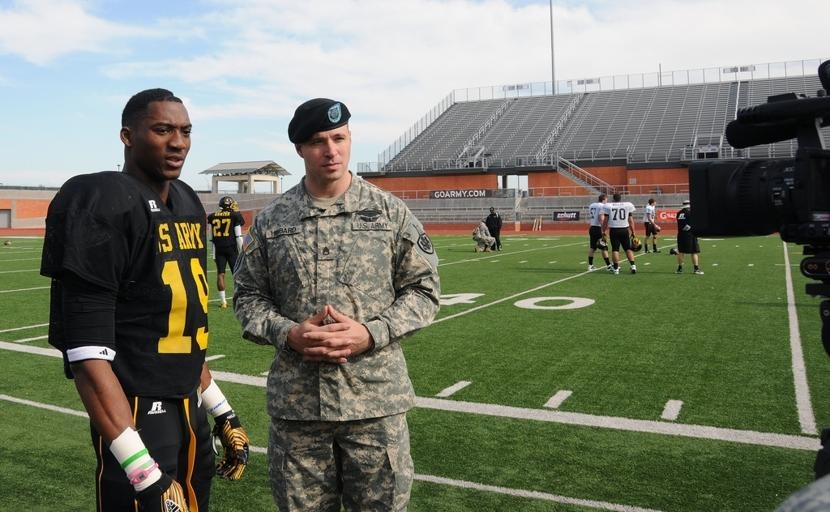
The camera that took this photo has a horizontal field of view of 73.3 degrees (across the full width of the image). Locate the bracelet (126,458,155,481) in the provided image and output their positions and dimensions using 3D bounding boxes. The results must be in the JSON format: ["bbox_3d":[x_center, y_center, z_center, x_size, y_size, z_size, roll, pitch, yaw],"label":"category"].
[{"bbox_3d":[-1.288,0.994,2.614,0.092,0.061,0.120,-28,-2,-26],"label":"bracelet"}]

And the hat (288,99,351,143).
[{"bbox_3d":[-0.526,-0.719,3.014,0.318,0.239,0.118,-2,8,-11],"label":"hat"}]

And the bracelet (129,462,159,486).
[{"bbox_3d":[-1.269,1.024,2.664,0.099,0.062,0.127,-27,1,7],"label":"bracelet"}]

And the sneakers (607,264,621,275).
[{"bbox_3d":[5.168,0.366,14.684,0.180,0.187,0.474,-3,-4,11],"label":"sneakers"}]

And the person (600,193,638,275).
[{"bbox_3d":[5.147,-0.536,14.244,0.807,2.082,1.216,3,9,24],"label":"person"}]

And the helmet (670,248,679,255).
[{"bbox_3d":[8.581,-0.126,18.679,0.219,0.152,0.202,-8,15,34],"label":"helmet"}]

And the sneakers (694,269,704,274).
[{"bbox_3d":[7.103,0.423,14.114,0.313,0.119,0.107,-1,1,41],"label":"sneakers"}]

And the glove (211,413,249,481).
[{"bbox_3d":[-1.083,1.109,3.277,0.251,0.355,0.133,-6,-17,-17],"label":"glove"}]
